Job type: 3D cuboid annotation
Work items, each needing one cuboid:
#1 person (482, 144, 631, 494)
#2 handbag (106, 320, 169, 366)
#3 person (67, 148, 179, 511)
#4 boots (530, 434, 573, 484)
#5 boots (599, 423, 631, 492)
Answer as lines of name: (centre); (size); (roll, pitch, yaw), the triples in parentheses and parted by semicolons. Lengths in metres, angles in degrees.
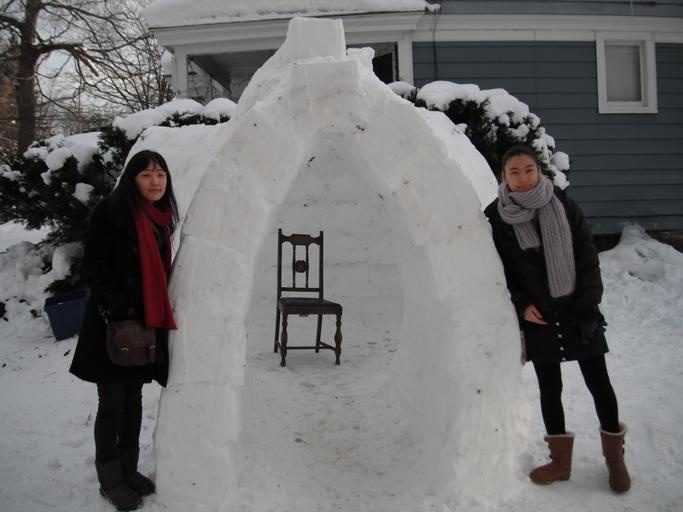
person: (1.413, 0.407, 3.930); (0.879, 2.251, 0.277); (0, 2, -1)
handbag: (-1.273, 0.527, 3.662); (0.257, 0.274, 0.105); (-1, -2, -18)
person: (-1.363, 0.456, 3.765); (0.623, 2.239, 0.321); (-1, 2, -11)
boots: (1.408, 1.347, 4.014); (0.298, 0.323, 0.172); (-4, 3, 6)
boots: (1.799, 1.326, 3.901); (0.148, 0.345, 0.342); (-6, 13, 10)
